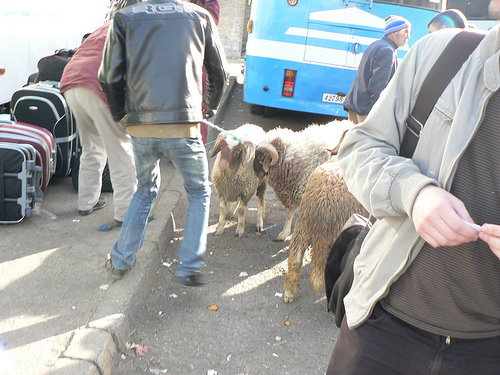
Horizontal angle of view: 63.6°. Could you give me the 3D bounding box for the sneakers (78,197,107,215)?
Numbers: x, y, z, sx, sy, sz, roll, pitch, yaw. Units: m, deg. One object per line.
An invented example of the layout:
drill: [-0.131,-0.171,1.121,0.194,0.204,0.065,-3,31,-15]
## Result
sneakers: [-1.738,0.216,4.478,0.100,0.145,0.306,8,25,20]

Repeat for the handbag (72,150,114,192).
handbag: [-1.957,-0.201,4.960,0.397,0.611,0.588,0,-12,2]

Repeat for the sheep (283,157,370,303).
sheep: [0.712,0.203,3.891,0.427,1.062,1.675,10,25,12]

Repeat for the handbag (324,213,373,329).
handbag: [0.493,0.431,2.139,0.167,0.539,0.365,-3,-28,23]

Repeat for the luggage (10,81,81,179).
luggage: [-2.436,-0.690,4.907,0.622,1.100,0.595,-4,20,-16]

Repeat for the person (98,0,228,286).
person: [-0.755,-0.426,3.475,0.937,2.224,0.961,5,18,5]
